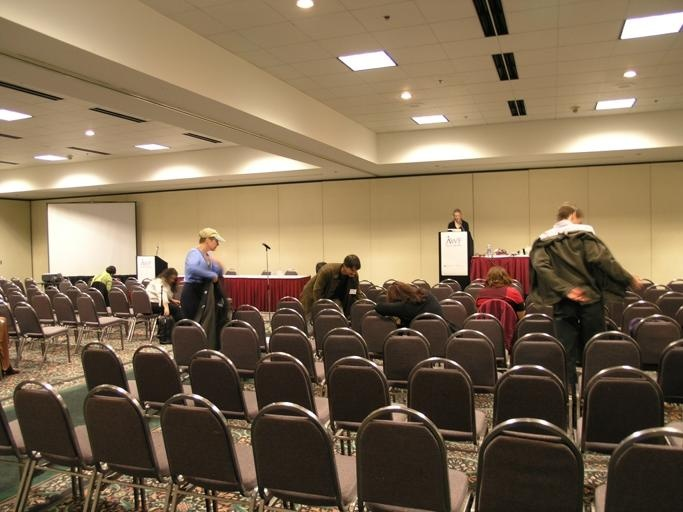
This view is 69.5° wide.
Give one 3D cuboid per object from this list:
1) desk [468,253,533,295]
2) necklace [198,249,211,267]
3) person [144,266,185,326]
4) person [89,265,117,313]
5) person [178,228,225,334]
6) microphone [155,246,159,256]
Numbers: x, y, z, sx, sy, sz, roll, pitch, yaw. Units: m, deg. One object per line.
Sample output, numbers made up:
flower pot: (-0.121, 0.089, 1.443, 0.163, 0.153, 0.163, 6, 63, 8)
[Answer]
desk: (2.883, 0.327, 8.925, 0.781, 0.597, 0.508, 0, -4, 18)
necklace: (-1.818, 0.018, 6.571, 0.070, 0.201, 0.143, -35, -10, 21)
person: (-3.394, 0.862, 9.413, 0.741, 1.256, 0.646, 7, 3, -7)
person: (-5.296, 0.689, 10.929, 0.365, 0.925, 0.414, 5, 14, -6)
person: (-1.910, 0.439, 6.667, 0.451, 1.612, 0.606, 8, 11, 5)
microphone: (-6.440, -0.212, 17.084, 0.095, 0.300, 0.338, 0, -1, -27)
